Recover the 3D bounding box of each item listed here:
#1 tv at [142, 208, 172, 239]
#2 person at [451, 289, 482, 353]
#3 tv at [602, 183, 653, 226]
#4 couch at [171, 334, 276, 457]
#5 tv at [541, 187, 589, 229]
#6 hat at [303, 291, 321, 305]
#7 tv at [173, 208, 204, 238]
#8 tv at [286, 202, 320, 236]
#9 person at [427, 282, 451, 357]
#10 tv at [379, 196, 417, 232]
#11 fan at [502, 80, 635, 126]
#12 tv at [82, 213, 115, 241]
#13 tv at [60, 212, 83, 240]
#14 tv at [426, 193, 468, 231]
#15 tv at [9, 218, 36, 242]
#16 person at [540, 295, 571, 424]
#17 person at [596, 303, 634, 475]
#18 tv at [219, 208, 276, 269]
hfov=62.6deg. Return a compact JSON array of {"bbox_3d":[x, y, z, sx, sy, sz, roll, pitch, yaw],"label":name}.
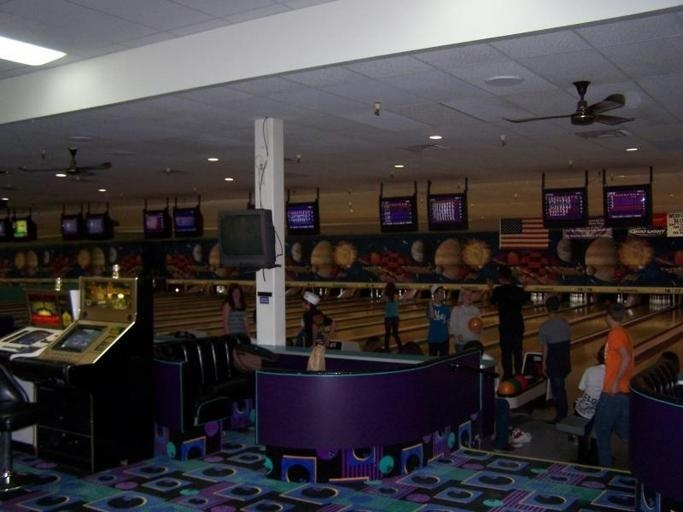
[{"bbox_3d":[-3.765,-0.729,11.440,0.488,0.611,0.670,0,0,-21],"label":"tv"},{"bbox_3d":[1.593,0.824,7.279,0.476,0.771,0.350,0,-1,35],"label":"person"},{"bbox_3d":[3.816,-0.690,7.435,0.645,0.575,0.333,-1,-2,24],"label":"tv"},{"bbox_3d":[-1.211,1.287,5.407,0.668,0.916,1.352,1,2,30],"label":"couch"},{"bbox_3d":[3.174,-0.717,7.844,0.613,0.556,0.339,2,13,35],"label":"tv"},{"bbox_3d":[-0.359,0.475,6.667,0.169,0.098,0.205,28,7,-11],"label":"hat"},{"bbox_3d":[-3.011,-0.688,11.016,0.647,0.598,0.328,2,8,22],"label":"tv"},{"bbox_3d":[-0.764,-0.649,9.288,0.711,0.619,0.388,-4,7,-33],"label":"tv"},{"bbox_3d":[1.324,0.873,7.566,0.287,0.967,0.662,0,0,10],"label":"person"},{"bbox_3d":[0.914,-0.759,8.943,0.688,0.608,0.353,-3,15,12],"label":"tv"},{"bbox_3d":[1.958,-1.159,4.421,0.651,0.196,0.625,-1,3,-8],"label":"fan"},{"bbox_3d":[-5.275,-0.660,12.132,0.724,0.652,0.384,3,3,18],"label":"tv"},{"bbox_3d":[-5.926,-0.684,12.341,0.672,0.539,0.268,0,0,29],"label":"tv"},{"bbox_3d":[1.598,-0.679,8.376,0.643,0.561,0.327,0,-2,27],"label":"tv"},{"bbox_3d":[-7.640,-0.651,13.412,0.610,0.568,0.307,2,3,22],"label":"tv"},{"bbox_3d":[2.392,1.130,6.255,0.314,1.414,1.093,0,0,21],"label":"person"},{"bbox_3d":[2.258,1.077,4.628,0.278,1.382,0.461,0,-1,25],"label":"person"},{"bbox_3d":[-1.099,-0.158,5.593,0.348,0.588,0.632,-6,-5,40],"label":"tv"}]
